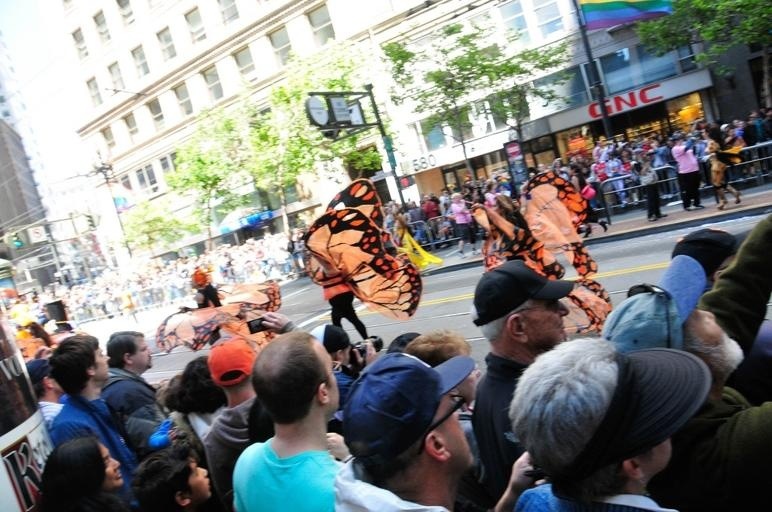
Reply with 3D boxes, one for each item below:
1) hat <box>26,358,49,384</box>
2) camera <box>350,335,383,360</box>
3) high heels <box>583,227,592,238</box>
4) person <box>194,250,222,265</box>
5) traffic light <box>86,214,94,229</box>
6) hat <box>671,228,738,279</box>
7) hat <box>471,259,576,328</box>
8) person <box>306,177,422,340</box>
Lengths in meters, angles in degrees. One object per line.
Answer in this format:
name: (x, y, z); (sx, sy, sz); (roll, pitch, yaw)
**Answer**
hat: (-3.185, 1.052, 5.791); (0.158, 0.242, 0.291); (-15, 3, -26)
camera: (-0.156, 0.789, 5.570); (0.283, 0.080, 0.248); (-10, -1, -7)
high heels: (5.048, -0.605, 15.831); (0.108, 0.283, 0.184); (-37, 46, -10)
person: (-7.674, 0.071, 27.380); (1.315, 0.448, 1.211); (-7, -2, -1)
traffic light: (-13.025, -1.532, 27.633); (0.345, 0.166, 0.863); (-6, 17, -23)
hat: (2.159, -0.037, 4.292); (0.566, 0.229, 0.313); (4, -4, -17)
hat: (0.906, 0.164, 4.066); (0.750, 0.301, 0.436); (-16, 7, 19)
person: (-0.301, -0.037, 7.641); (1.203, 1.791, 0.658); (-14, 2, 7)
